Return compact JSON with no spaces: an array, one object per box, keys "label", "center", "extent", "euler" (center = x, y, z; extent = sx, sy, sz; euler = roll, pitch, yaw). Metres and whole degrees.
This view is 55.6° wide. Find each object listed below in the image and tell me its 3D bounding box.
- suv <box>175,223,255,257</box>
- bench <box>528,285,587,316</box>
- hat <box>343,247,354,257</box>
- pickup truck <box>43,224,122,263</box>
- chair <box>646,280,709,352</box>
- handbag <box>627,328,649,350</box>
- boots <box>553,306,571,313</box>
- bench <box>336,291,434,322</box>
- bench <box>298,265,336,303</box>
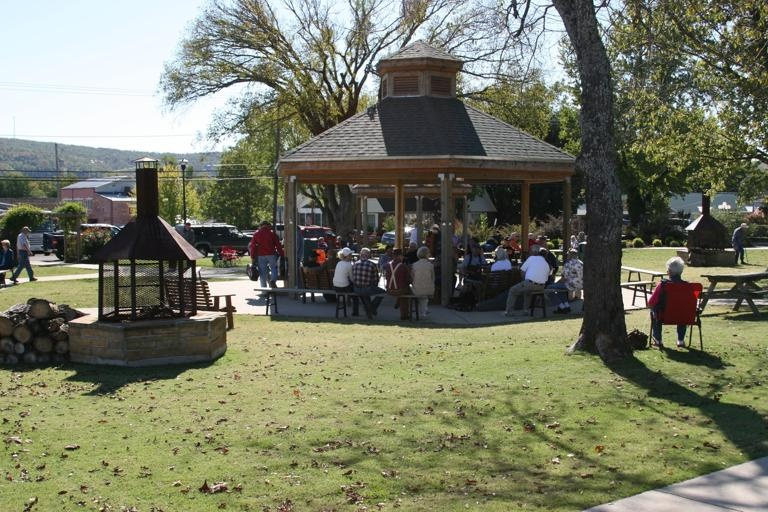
[{"label":"suv","center":[-9.203,-1.050,40.650],"extent":[3.843,1.673,2.102],"euler":[-4,7,-12]},{"label":"bench","center":[4.575,1.113,19.377],"extent":[1.350,0.713,3.154],"euler":[0,2,14]},{"label":"hat","center":[-0.936,-0.098,18.567],"extent":[0.208,0.176,0.315],"euler":[2,7,11]},{"label":"pickup truck","center":[-13.326,-0.577,31.965],"extent":[3.395,1.250,1.863],"euler":[-5,6,-42]},{"label":"chair","center":[5.368,1.056,13.989],"extent":[1.130,1.665,1.209],"euler":[1,4,10]},{"label":"handbag","center":[4.730,1.534,13.531],"extent":[0.358,0.277,0.364],"euler":[0,-3,-5]},{"label":"boots","center":[4.576,1.392,18.735],"extent":[0.465,0.206,0.160],"euler":[-9,-5,39]},{"label":"bench","center":[0.043,1.187,18.731],"extent":[2.187,0.747,1.686],"euler":[0,2,2]},{"label":"bench","center":[-1.853,0.687,20.740],"extent":[1.027,1.379,0.992],"euler":[3,7,29]}]
